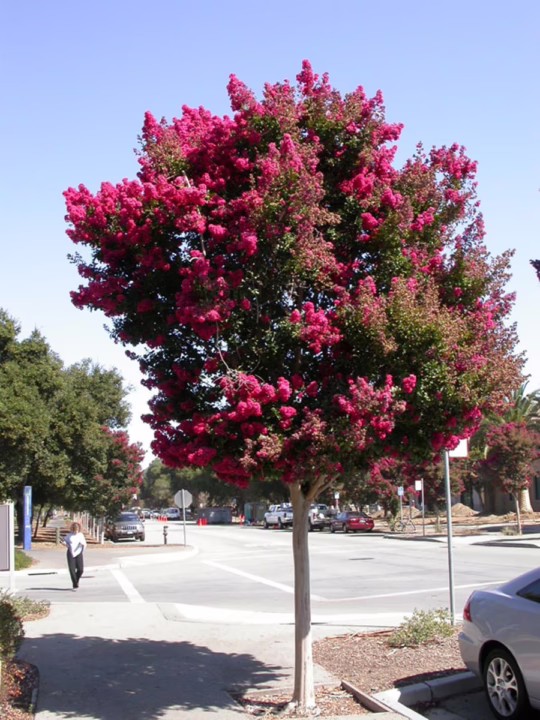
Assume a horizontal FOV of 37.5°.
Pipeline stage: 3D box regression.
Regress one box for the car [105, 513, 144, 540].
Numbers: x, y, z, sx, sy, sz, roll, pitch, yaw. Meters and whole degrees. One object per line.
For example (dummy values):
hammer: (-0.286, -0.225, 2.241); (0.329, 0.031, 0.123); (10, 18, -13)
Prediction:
car: (-7.717, 9.049, 42.529); (1.311, 1.031, 2.867); (1, 4, -20)
